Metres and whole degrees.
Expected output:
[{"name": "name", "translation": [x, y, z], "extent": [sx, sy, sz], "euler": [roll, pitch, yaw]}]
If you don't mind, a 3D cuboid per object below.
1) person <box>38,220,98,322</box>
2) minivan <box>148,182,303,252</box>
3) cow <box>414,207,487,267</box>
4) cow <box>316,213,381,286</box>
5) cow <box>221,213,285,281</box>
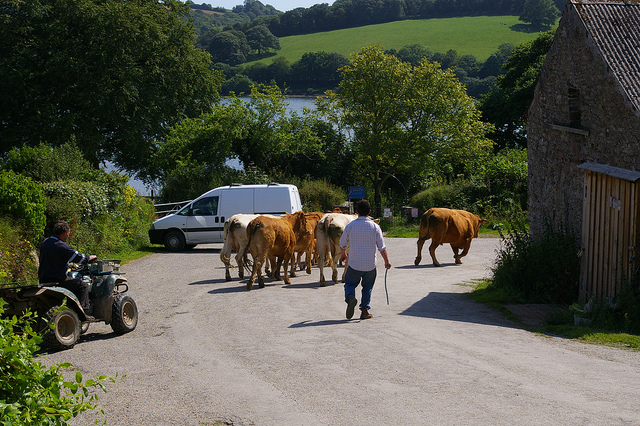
[{"name": "person", "translation": [-5.565, 1.307, 12.920], "extent": [0.907, 2.138, 1.172], "euler": [4, 1, 38]}, {"name": "minivan", "translation": [-4.559, 0.230, 28.718], "extent": [6.073, 3.062, 2.597], "euler": [0, 0, -1]}, {"name": "cow", "translation": [4.844, 0.882, 21.449], "extent": [3.316, 2.141, 1.076], "euler": [4, -1, -39]}, {"name": "cow", "translation": [0.756, 1.153, 19.526], "extent": [0.976, 2.277, 3.820], "euler": [3, -1, 18]}, {"name": "cow", "translation": [-1.887, 1.104, 19.585], "extent": [0.916, 2.218, 3.670], "euler": [5, 3, 39]}]
